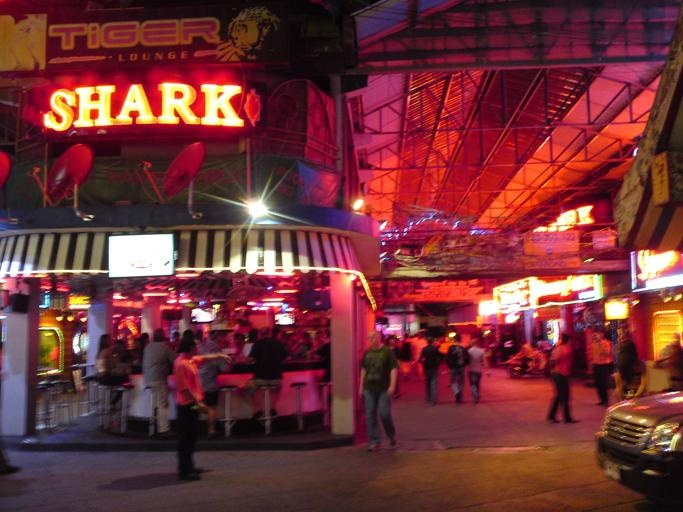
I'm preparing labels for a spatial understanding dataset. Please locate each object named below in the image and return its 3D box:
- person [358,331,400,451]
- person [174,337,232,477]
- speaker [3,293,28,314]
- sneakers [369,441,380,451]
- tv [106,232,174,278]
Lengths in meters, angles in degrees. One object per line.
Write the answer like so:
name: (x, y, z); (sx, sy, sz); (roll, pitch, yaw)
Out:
person: (0.731, 2.667, 13.407); (0.740, 2.308, 1.422); (-2, -11, 1)
person: (-2.535, 2.482, 11.162); (0.549, 2.425, 0.604); (1, -11, -11)
speaker: (-7.244, 1.059, 14.994); (0.541, 0.452, 0.489); (1, -8, -13)
sneakers: (0.623, 3.697, 13.014); (0.245, 0.174, 0.211); (-1, -10, -4)
tv: (-4.107, -0.005, 13.651); (1.052, 0.631, 0.133); (-1, -4, -3)
